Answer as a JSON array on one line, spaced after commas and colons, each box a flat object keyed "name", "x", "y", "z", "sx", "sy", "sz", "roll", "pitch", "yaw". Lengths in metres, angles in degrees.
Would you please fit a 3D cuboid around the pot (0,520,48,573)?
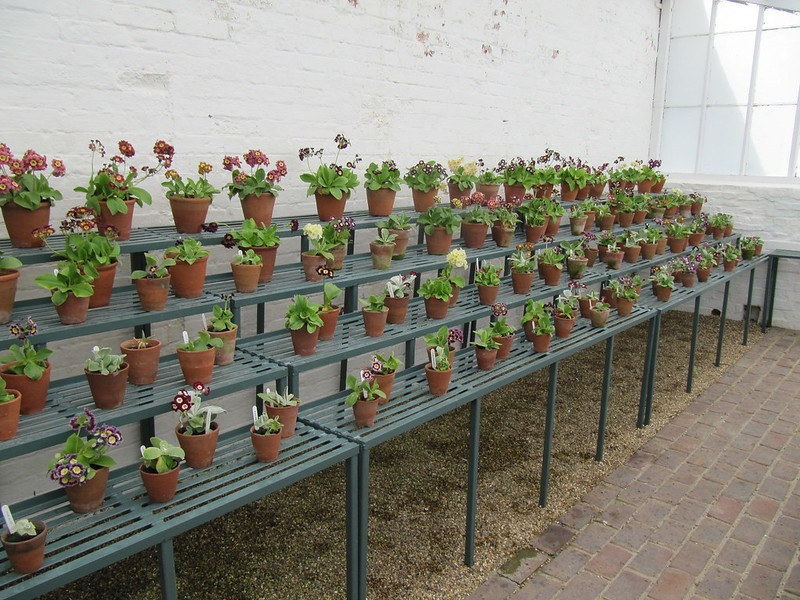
[{"name": "pot", "x": -1.107, "y": 0.741, "z": 1.555, "sx": 0.133, "sy": 0.113, "sz": 0.134, "roll": -1, "pitch": 3, "yaw": 0}]

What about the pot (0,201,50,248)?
[{"name": "pot", "x": -1.598, "y": -0.317, "z": 2.203, "sx": 0.212, "sy": 0.169, "sz": 0.206, "roll": 1, "pitch": 7, "yaw": 0}]
